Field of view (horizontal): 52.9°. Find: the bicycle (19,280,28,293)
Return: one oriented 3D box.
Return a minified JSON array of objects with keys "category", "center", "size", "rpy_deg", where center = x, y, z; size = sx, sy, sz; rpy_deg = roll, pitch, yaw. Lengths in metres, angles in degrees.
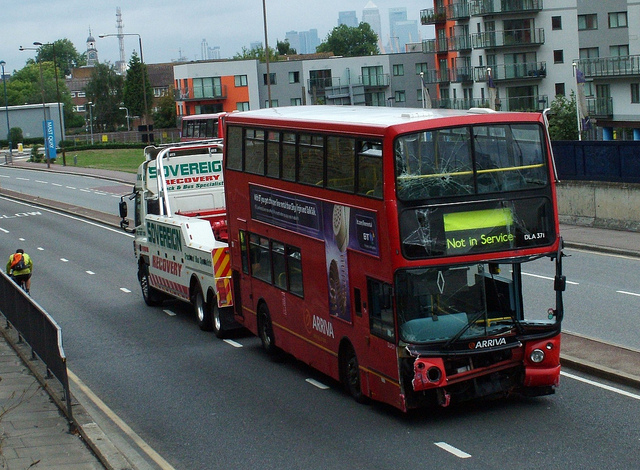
[{"category":"bicycle","center":[-9.988,1.691,21.575],"size":[0.238,0.450,0.111],"rpy_deg":[15,31,22]}]

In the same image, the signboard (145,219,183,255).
[{"category":"signboard","center":[-4.809,-0.043,19.268],"size":[0.211,0.819,2.056],"rpy_deg":[-8,-10,14]}]

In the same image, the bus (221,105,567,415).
[{"category":"bus","center":[0.731,0.002,14.441],"size":[3.075,5.260,9.332],"rpy_deg":[-7,9,-25]}]

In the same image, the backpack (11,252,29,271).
[{"category":"backpack","center":[-10.020,0.900,21.453],"size":[0.392,0.590,0.551],"rpy_deg":[1,-13,-26]}]

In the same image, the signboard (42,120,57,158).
[{"category":"signboard","center":[-35.304,-12.474,83.990],"size":[1.065,5.247,0.124],"rpy_deg":[-5,-5,-20]}]
